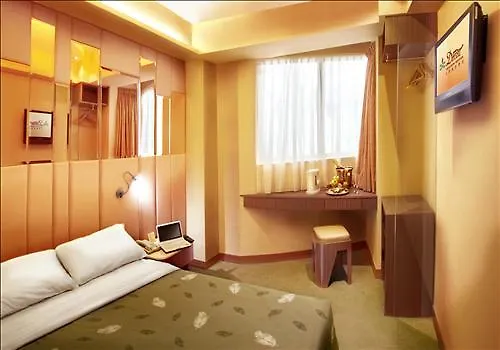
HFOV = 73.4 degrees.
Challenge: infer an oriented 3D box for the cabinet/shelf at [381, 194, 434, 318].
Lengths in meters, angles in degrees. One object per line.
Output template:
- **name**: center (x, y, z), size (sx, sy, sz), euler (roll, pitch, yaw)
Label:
- **cabinet/shelf**: center (1.679, 0.797, 3.891), size (0.455, 1.114, 1.200), euler (-2, 10, 11)

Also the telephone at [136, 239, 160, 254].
- **telephone**: center (-1.251, 0.838, 4.069), size (0.206, 0.063, 0.157), euler (22, 18, 23)

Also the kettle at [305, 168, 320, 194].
- **kettle**: center (0.887, 0.081, 4.716), size (0.188, 0.315, 0.301), euler (2, 10, 34)

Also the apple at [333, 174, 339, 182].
- **apple**: center (1.207, 0.040, 4.670), size (0.083, 0.106, 0.088), euler (0, -3, -5)

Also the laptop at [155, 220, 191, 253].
- **laptop**: center (-0.969, 0.753, 4.181), size (0.358, 0.233, 0.355), euler (-5, 15, -34)

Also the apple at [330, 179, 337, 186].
- **apple**: center (1.153, 0.105, 4.635), size (0.084, 0.105, 0.084), euler (-3, 2, 30)

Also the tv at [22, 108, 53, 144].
- **tv**: center (-2.141, -0.490, 3.339), size (0.048, 0.471, 0.337), euler (3, 4, 40)

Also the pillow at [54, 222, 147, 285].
- **pillow**: center (-1.692, 0.780, 3.529), size (0.735, 0.211, 0.568), euler (23, 21, 40)

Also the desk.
- **desk**: center (0.803, 0.367, 4.648), size (1.777, 0.316, 0.377), euler (1, 13, 13)
